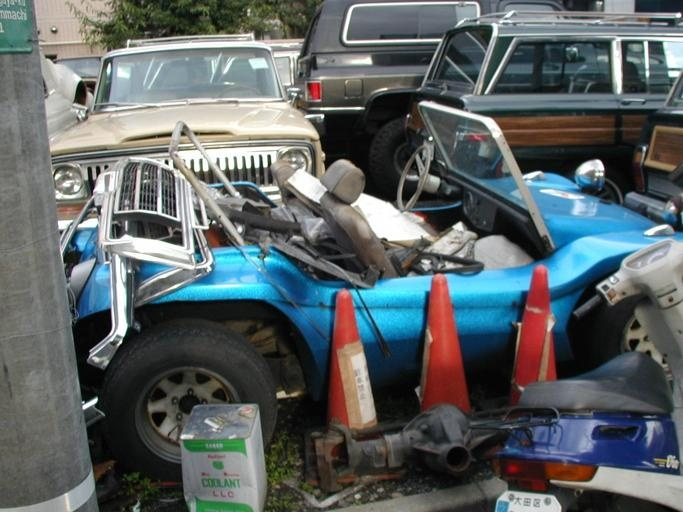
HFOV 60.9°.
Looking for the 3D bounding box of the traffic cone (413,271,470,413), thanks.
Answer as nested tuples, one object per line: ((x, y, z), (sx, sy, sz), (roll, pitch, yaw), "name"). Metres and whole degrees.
((0.631, 0.539, 3.606), (0.305, 0.864, 0.199), (-2, 10, 6), "traffic cone")

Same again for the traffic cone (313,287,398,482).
((0.017, 0.776, 3.481), (0.366, 1.122, 0.471), (-3, 10, 2), "traffic cone")

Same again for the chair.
((-0.081, -0.271, 3.968), (0.359, 0.763, 1.079), (-9, 12, -30), "chair")

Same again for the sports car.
((0.240, 0.277, 4.268), (4.009, 1.950, 2.302), (-5, 23, -11), "sports car")
